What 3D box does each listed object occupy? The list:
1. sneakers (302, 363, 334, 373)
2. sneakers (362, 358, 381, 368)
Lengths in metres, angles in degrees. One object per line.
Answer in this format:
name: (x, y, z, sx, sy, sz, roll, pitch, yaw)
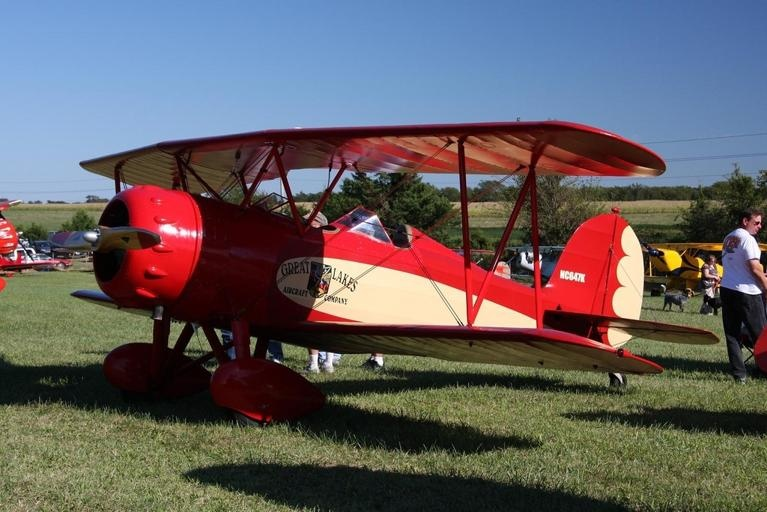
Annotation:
sneakers: (-0.937, 1.626, 10.015, 0.464, 0.176, 0.147, -1, 4, -6)
sneakers: (-0.160, 1.601, 10.464, 0.312, 0.137, 0.117, 9, 7, 40)
